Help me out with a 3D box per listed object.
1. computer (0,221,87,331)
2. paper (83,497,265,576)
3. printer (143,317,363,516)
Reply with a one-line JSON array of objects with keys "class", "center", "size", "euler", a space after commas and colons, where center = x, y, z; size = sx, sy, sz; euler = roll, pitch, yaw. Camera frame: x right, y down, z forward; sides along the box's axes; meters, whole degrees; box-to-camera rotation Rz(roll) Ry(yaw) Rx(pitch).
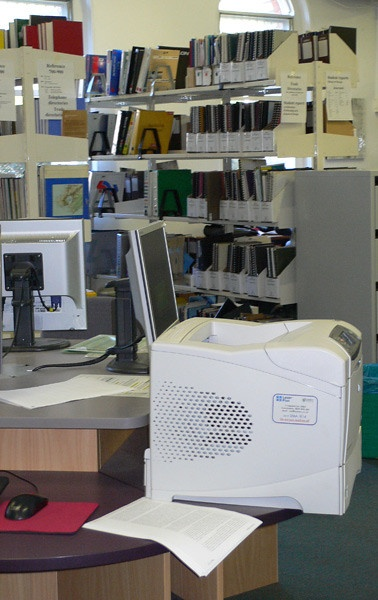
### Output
[{"class": "computer", "center": [-0.507, -0.096, 1.876], "size": [0.379, 0.372, 0.121], "euler": [0, 9, 0]}, {"class": "paper", "center": [-0.011, 0.355, 0.854], "size": [0.257, 0.029, 0.196], "euler": [-2, 5, 42]}, {"class": "printer", "center": [0.137, 0.204, 1.057], "size": [0.366, 0.272, 0.354], "euler": [0, 4, 14]}]
